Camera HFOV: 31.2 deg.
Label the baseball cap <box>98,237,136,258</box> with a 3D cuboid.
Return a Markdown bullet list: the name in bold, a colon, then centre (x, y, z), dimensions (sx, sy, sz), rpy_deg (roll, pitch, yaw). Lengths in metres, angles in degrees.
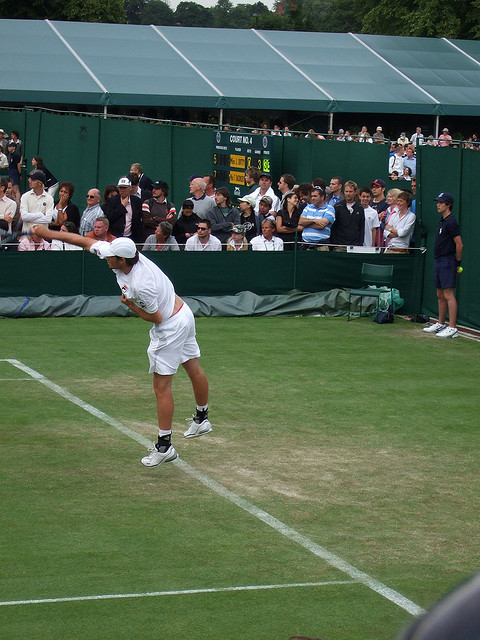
- **baseball cap**: centre (-0.949, -0.563, 6.635), dimensions (0.264, 0.091, 0.146), rpy_deg (1, 38, 3)

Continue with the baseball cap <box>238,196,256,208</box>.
- **baseball cap**: centre (0.169, -2.161, 15.379), dimensions (0.373, 0.158, 0.225), rpy_deg (11, -5, -14)

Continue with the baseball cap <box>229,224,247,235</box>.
- **baseball cap**: centre (-0.038, -1.608, 15.173), dimensions (0.288, 0.170, 0.403), rpy_deg (2, 9, 0)

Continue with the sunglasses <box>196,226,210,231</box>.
- **sunglasses**: centre (-0.626, -1.569, 14.655), dimensions (0.146, 0.036, 0.142), rpy_deg (3, 1, 25)

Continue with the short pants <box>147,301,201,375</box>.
- **short pants**: centre (-0.570, 0.148, 7.159), dimensions (0.267, 0.550, 0.522), rpy_deg (7, 11, 20)

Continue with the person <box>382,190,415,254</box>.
- **person**: centre (2.821, -1.728, 15.170), dimensions (0.482, 1.102, 0.847), rpy_deg (3, 11, 4)

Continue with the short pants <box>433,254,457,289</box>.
- **short pants**: centre (3.087, -0.750, 13.122), dimensions (0.361, 0.538, 0.218), rpy_deg (8, 13, 26)

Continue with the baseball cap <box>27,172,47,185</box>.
- **baseball cap**: centre (-3.562, -2.500, 15.063), dimensions (0.291, 0.131, 0.183), rpy_deg (20, 19, -12)

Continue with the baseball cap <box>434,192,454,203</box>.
- **baseball cap**: centre (3.047, -1.849, 12.893), dimensions (0.301, 0.123, 0.182), rpy_deg (0, 3, -6)

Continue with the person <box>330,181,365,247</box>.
- **person**: centre (1.924, -1.816, 15.342), dimensions (0.640, 0.967, 0.417), rpy_deg (3, 11, 5)

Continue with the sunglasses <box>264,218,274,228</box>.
- **sunglasses**: centre (0.496, -1.728, 15.154), dimensions (0.142, 0.034, 0.140), rpy_deg (34, 8, -7)

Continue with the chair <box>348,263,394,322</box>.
- **chair**: centre (2.234, -0.497, 14.856), dimensions (1.108, 0.848, 0.980), rpy_deg (0, 11, 4)

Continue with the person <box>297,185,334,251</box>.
- **person**: centre (1.336, -1.677, 15.277), dimensions (0.588, 0.872, 0.487), rpy_deg (3, 11, 5)

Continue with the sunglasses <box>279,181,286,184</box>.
- **sunglasses**: centre (0.803, -2.654, 16.485), dimensions (0.201, 0.062, 0.130), rpy_deg (1, 11, 2)

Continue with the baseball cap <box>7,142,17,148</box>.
- **baseball cap**: centre (-6.499, -5.045, 24.656), dimensions (0.344, 0.123, 0.198), rpy_deg (6, 0, -34)
